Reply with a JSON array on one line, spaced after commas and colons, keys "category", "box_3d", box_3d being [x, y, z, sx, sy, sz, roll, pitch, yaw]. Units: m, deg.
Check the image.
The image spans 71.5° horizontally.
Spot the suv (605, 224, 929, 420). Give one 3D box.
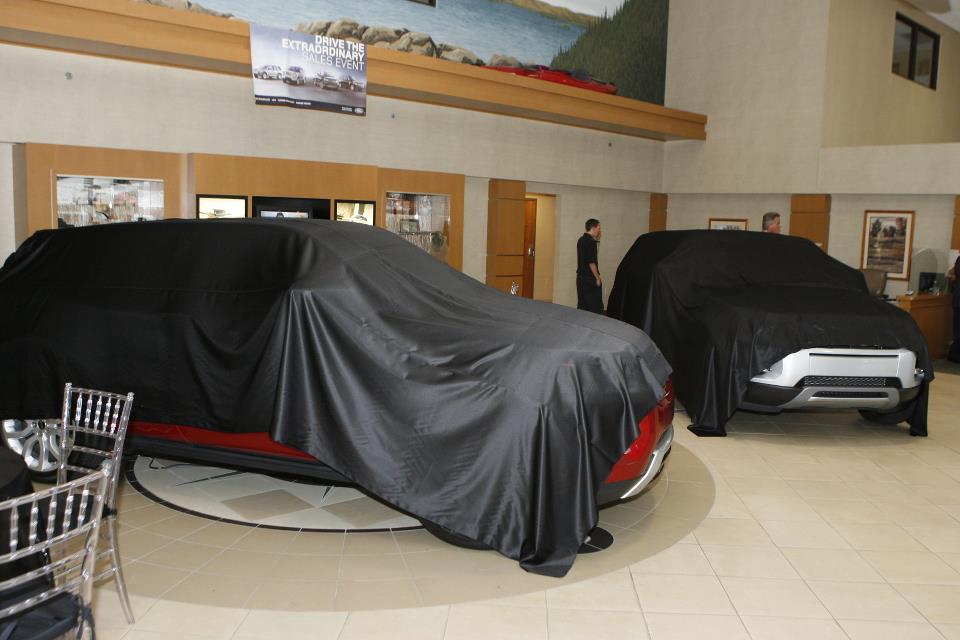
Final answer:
[{"category": "suv", "box_3d": [2.600, -0.205, 6.882, 1.712, 1.228, 2.775, 0, 8, -21]}]
